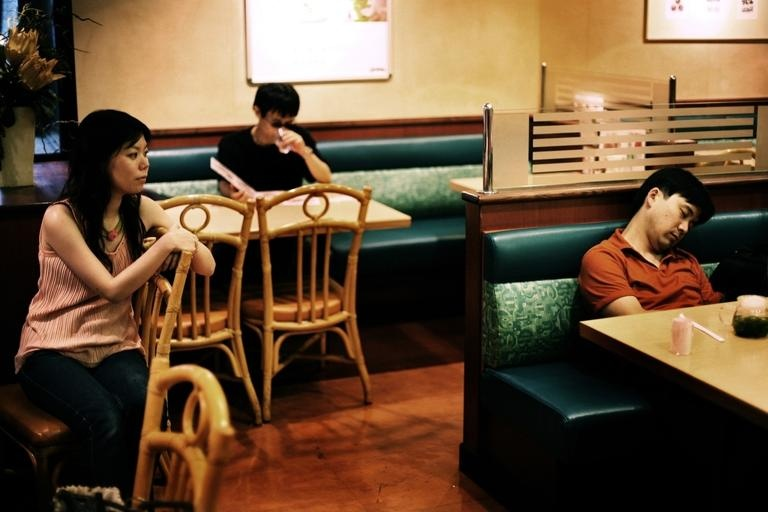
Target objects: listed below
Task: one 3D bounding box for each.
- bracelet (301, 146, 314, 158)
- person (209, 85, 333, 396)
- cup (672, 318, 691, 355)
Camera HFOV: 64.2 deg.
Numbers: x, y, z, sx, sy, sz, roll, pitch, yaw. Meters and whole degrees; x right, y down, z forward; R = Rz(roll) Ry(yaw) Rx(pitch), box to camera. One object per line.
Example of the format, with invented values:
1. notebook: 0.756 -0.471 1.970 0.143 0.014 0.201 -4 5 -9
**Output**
1. bracelet: -0.489 -0.674 3.956 0.069 0.071 0.030 -2 -2 -24
2. person: -0.744 -0.403 3.974 0.623 1.299 0.746 -5 14 -40
3. cup: 1.067 0.273 2.179 0.069 0.108 0.135 8 20 28
